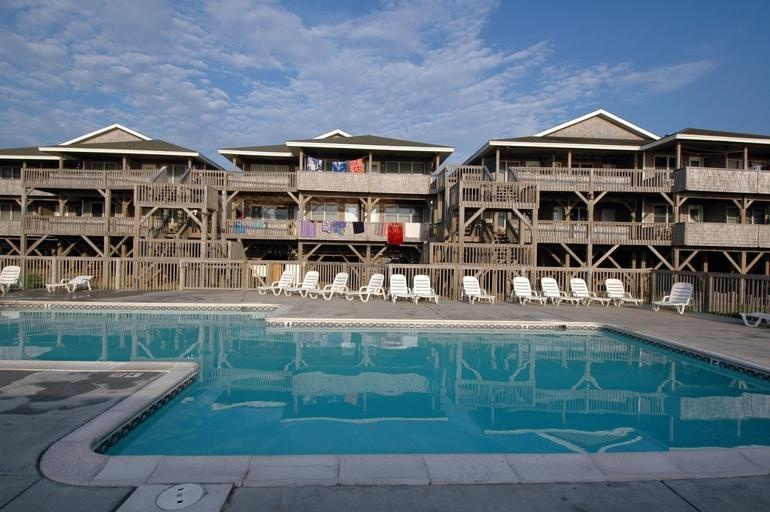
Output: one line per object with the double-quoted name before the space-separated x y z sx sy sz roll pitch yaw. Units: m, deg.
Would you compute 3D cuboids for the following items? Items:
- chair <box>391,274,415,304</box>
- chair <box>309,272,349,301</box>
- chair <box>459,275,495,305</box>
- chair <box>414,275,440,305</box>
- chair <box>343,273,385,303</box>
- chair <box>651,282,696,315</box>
"chair" 0.808 1.518 30.872 1.173 1.333 2.008 -1 -1 1
"chair" -2.729 1.453 31.803 1.935 1.280 2.738 -1 -1 -9
"chair" 4.530 1.614 30.985 1.404 0.888 1.875 -1 -1 6
"chair" 2.000 1.573 30.799 1.285 1.331 1.985 -1 -1 4
"chair" -0.865 1.515 31.261 1.825 1.298 2.337 -1 -1 0
"chair" 13.587 1.904 29.215 2.167 1.338 1.400 -1 -1 -24
